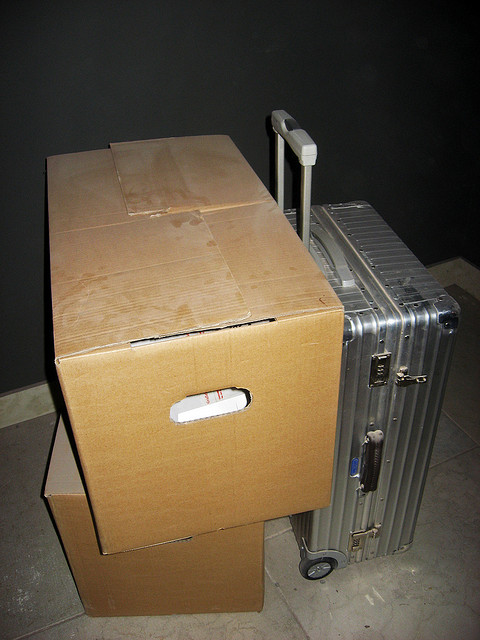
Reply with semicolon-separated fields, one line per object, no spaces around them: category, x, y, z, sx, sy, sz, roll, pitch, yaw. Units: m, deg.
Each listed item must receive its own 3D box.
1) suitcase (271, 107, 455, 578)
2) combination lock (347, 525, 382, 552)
suitcase;0.299;0.222;1.337;0.288;0.893;0.392;1;33;6
combination lock;0.298;0.535;1.388;0.084;0.076;0.023;-1;37;-2
